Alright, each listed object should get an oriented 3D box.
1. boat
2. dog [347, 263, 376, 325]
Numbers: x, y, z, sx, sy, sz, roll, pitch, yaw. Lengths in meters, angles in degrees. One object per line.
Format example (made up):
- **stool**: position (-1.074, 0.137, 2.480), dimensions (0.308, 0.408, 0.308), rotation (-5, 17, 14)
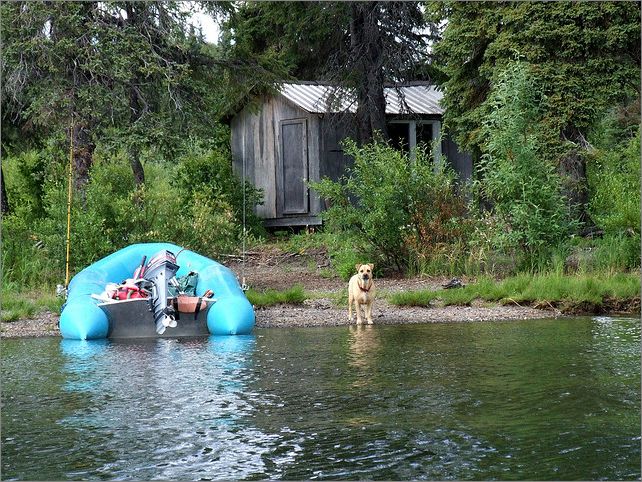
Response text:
- **boat**: position (-2.826, 0.870, 13.474), dimensions (3.060, 1.325, 1.730), rotation (-2, 8, -4)
- **dog**: position (0.703, 0.910, 13.500), dimensions (0.383, 1.066, 0.687), rotation (-3, 8, -14)
